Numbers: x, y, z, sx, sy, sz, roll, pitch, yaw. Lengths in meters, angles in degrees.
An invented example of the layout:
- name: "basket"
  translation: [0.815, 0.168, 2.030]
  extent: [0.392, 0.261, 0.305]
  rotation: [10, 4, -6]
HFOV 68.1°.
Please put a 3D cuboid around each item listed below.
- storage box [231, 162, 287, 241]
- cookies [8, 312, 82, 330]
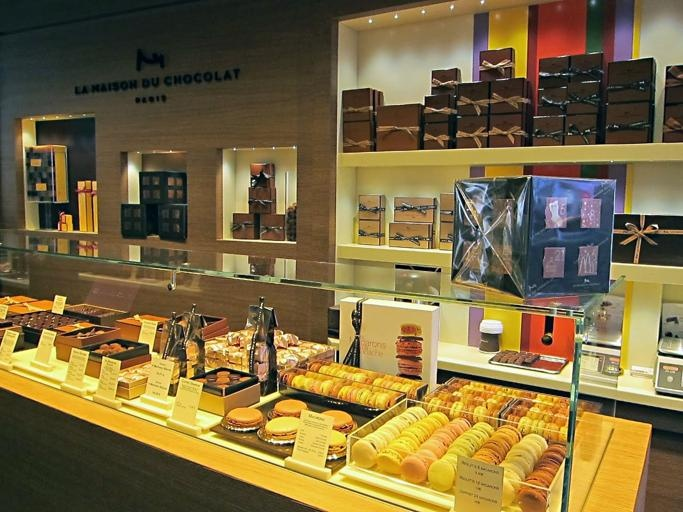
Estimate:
- name: "storage box"
  translation: [-0.722, -0.487, 4.593]
  extent: [0.513, 0.687, 0.184]
  rotation: [4, 5, 25]
- name: "cookies"
  translation: [-1.635, 0.349, 2.749]
  extent: [0.368, 0.034, 0.250]
  rotation: [6, 6, 40]
